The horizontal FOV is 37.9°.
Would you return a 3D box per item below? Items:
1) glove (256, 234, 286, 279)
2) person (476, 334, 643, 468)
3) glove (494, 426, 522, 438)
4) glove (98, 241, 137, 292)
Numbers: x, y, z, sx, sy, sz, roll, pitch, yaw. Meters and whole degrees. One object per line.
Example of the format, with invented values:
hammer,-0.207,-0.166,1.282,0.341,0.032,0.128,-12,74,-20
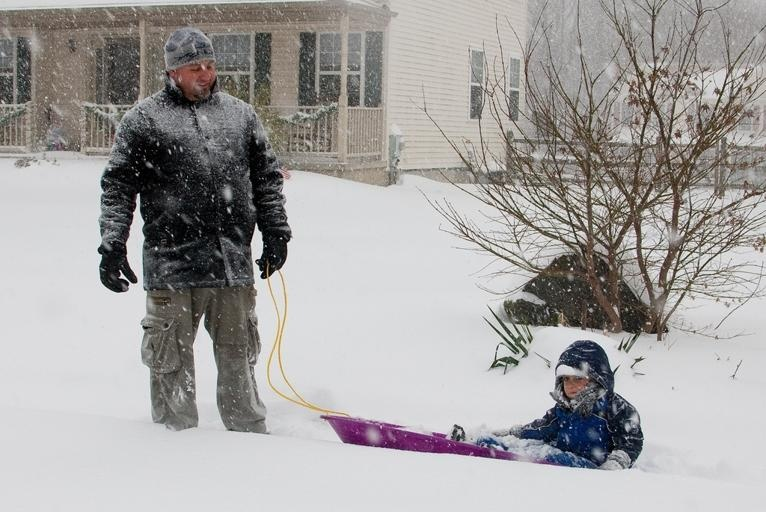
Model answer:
glove,-1.123,-0.036,11.346,0.380,0.333,0.171,6,-10,41
person,1.955,1.576,11.404,1.082,1.459,1.646,11,-9,-35
glove,1.326,1.839,11.692,0.166,0.081,0.142,-4,-1,4
glove,-2.577,0.127,10.834,0.327,0.518,0.376,-1,11,-22
